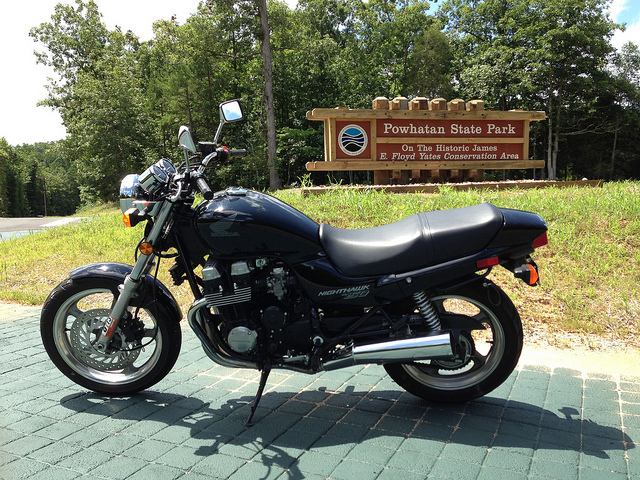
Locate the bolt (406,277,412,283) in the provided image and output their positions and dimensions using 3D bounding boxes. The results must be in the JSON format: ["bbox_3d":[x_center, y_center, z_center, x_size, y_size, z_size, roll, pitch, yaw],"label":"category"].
[{"bbox_3d":[0.712,0.323,4.188,0.046,0.042,0.007,-5,10,-7],"label":"bolt"}]

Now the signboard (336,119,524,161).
[{"bbox_3d":[2.843,-2.462,12.930,6.023,1.269,0.288,-4,8,-20],"label":"signboard"}]

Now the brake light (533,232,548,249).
[{"bbox_3d":[1.807,0.003,4.274,0.130,0.115,0.108,2,32,1],"label":"brake light"}]
